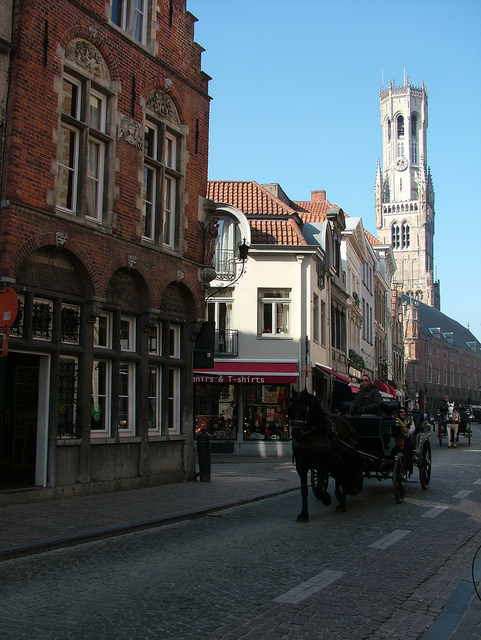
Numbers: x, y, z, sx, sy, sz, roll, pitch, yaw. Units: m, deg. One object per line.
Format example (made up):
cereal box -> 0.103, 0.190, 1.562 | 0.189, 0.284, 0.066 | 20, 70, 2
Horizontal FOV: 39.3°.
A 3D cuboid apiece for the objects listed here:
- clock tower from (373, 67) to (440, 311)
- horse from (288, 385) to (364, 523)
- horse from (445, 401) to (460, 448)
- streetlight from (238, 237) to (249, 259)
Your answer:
clock tower -> 40.846, -33.222, 169.058 | 11.703, 59.004, 15.320 | -1, -6, 11
horse -> 1.296, 2.069, 10.042 | 0.515, 1.889, 2.383 | -3, -12, 29
horse -> 9.281, 4.638, 29.674 | 0.538, 1.961, 1.339 | -2, -7, 18
streetlight -> 0.093, -1.882, 18.403 | 0.255, 0.667, 0.276 | 0, 3, 2
